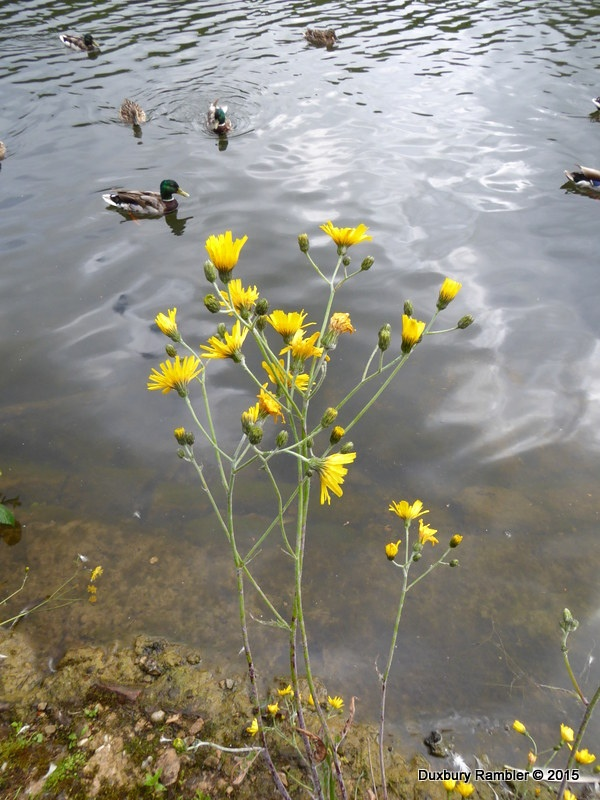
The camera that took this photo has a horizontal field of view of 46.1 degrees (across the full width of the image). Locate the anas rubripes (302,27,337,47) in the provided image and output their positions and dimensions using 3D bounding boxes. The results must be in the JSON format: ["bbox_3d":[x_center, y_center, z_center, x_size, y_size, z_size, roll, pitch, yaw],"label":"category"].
[{"bbox_3d":[0.522,-8.308,16.139,0.561,0.265,0.610,16,69,4],"label":"anas rubripes"}]

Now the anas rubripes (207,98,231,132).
[{"bbox_3d":[-1.325,-4.547,11.402,0.360,0.536,0.429,-16,11,-5],"label":"anas rubripes"}]

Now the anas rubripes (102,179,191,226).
[{"bbox_3d":[-1.980,-2.593,9.033,1.097,0.515,0.473,4,53,-11],"label":"anas rubripes"}]

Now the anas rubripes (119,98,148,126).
[{"bbox_3d":[-2.848,-4.911,11.750,0.364,0.271,0.601,-19,64,-9],"label":"anas rubripes"}]
